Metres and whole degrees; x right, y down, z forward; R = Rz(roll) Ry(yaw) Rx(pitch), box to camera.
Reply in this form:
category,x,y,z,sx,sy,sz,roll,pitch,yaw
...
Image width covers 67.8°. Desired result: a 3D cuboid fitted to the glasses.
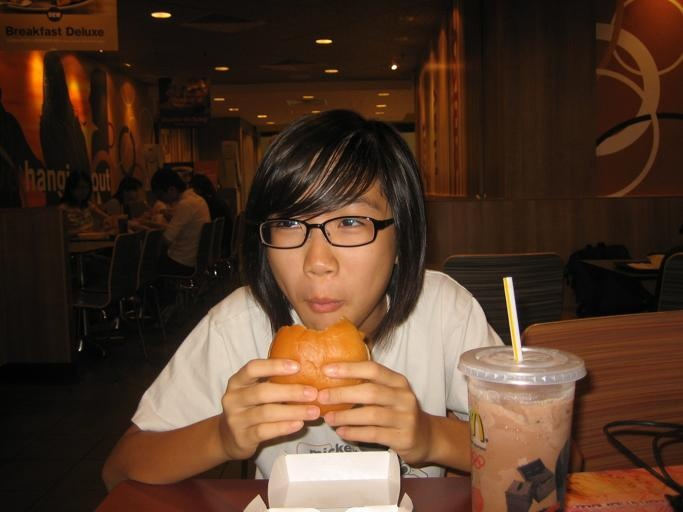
category,x,y,z,sx,sy,sz,roll,pitch,yaw
glasses,-0.035,-0.060,1.253,0.345,0.080,0.107,0,9,-3

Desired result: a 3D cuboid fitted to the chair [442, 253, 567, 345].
category,x,y,z,sx,sy,sz,roll,pitch,yaw
chair,0.893,0.192,2.968,0.480,0.736,0.558,-1,16,3

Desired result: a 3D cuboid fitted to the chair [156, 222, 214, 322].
category,x,y,z,sx,sy,sz,roll,pitch,yaw
chair,-1.757,0.159,5.579,0.399,0.635,0.422,2,21,-13

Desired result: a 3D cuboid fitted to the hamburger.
category,x,y,z,sx,sy,sz,roll,pitch,yaw
hamburger,-0.044,0.249,1.174,0.244,0.187,0.217,-2,-4,-7
